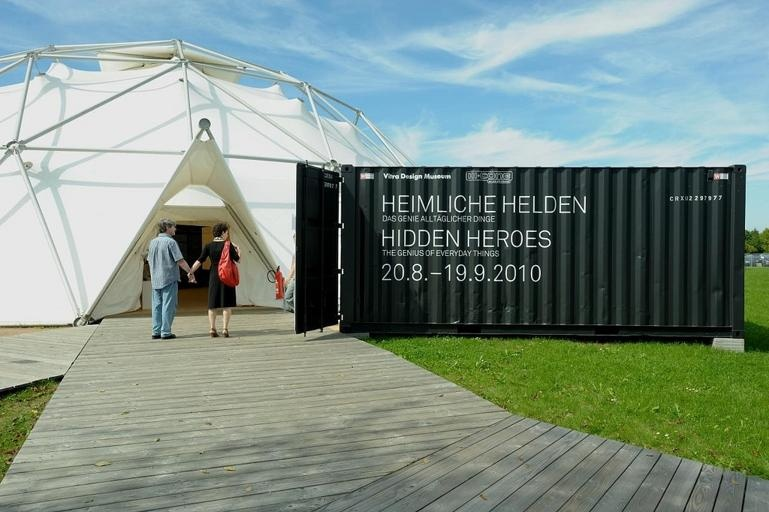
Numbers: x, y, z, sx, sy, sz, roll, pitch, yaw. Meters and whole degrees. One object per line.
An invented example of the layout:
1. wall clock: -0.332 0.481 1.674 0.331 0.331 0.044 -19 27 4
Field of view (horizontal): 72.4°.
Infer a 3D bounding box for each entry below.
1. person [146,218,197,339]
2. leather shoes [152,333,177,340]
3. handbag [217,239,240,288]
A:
1. person: -4.859 0.490 11.729 0.668 2.537 0.980 -3 10 -24
2. leather shoes: -4.816 1.748 11.570 0.519 0.206 0.170 1 -2 -18
3. handbag: -3.468 0.214 11.681 0.323 1.048 0.385 7 11 28
